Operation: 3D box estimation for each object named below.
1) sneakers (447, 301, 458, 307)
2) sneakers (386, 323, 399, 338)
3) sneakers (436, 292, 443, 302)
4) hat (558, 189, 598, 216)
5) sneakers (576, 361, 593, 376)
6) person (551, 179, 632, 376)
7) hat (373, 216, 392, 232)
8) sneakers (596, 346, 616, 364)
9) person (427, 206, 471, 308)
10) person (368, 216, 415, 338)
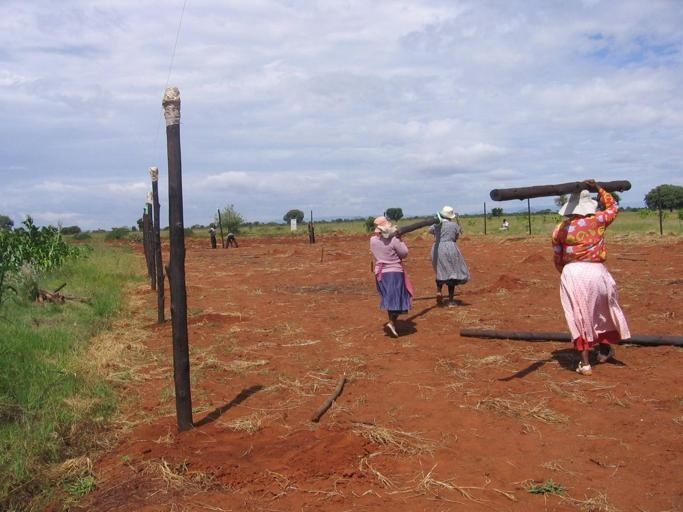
[{"bbox_3d":[2.646,1.117,11.645,0.271,0.150,0.090,-4,8,-27],"label":"sneakers"},{"bbox_3d":[0.956,1.422,9.299,0.153,0.141,0.356,-6,-35,22],"label":"sneakers"},{"bbox_3d":[2.372,0.993,11.877,0.144,0.277,0.130,-2,3,9],"label":"sneakers"},{"bbox_3d":[3.348,-0.747,6.919,0.480,0.366,0.340,2,14,24],"label":"hat"},{"bbox_3d":[3.464,1.602,6.991,0.127,0.119,0.316,-2,0,15],"label":"sneakers"},{"bbox_3d":[3.529,0.310,6.939,0.898,2.690,0.765,-3,14,8],"label":"person"},{"bbox_3d":[0.788,-0.604,9.206,0.305,0.294,0.400,-3,12,5],"label":"hat"},{"bbox_3d":[3.969,1.497,7.404,0.154,0.166,0.407,-16,31,53],"label":"sneakers"},{"bbox_3d":[2.518,0.054,11.473,0.802,2.375,0.738,-3,14,7],"label":"person"},{"bbox_3d":[0.994,0.359,9.305,0.643,2.234,0.778,-10,15,-20],"label":"person"}]
